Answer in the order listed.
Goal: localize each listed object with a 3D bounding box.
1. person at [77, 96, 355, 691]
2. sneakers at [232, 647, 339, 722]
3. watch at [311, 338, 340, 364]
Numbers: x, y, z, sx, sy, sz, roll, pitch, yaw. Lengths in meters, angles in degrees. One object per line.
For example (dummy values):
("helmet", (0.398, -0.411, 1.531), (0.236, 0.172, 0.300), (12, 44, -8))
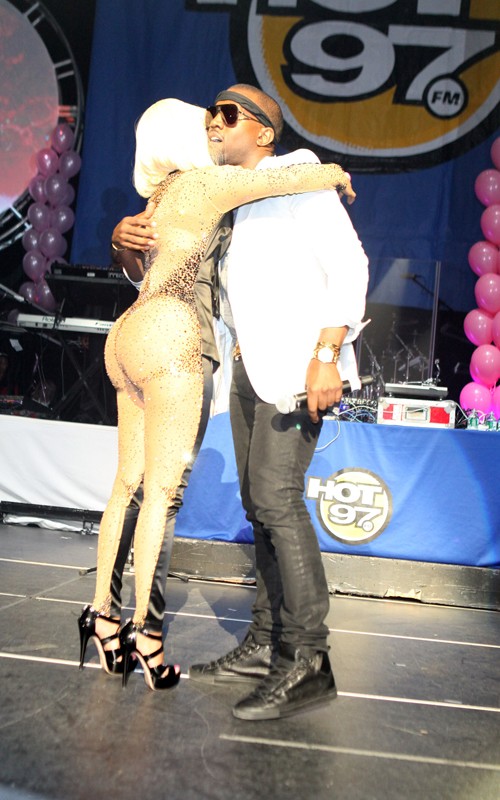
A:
("person", (-0.139, 0.000, 1.640), (0.495, 1.201, 0.991), (6, 33, 3))
("sneakers", (0.071, 0.648, 1.532), (0.285, 0.137, 0.099), (7, -6, -41))
("watch", (0.179, -0.110, 1.506), (0.060, 0.038, 0.051), (5, 33, 2))
